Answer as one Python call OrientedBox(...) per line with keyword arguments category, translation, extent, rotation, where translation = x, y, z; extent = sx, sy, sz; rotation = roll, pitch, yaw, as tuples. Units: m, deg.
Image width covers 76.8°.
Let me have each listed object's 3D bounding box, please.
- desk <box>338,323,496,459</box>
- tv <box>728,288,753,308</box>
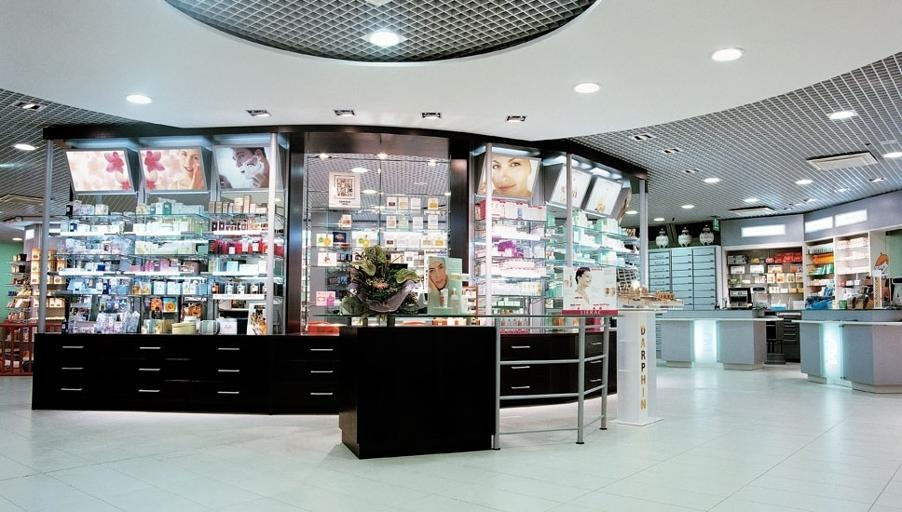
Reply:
OrientedBox(category="desk", translation=(0.086, 1.718, 7.306), extent=(2.173, 1.499, 1.180), rotation=(-11, -18, 33))
OrientedBox(category="tv", translation=(7.511, 1.139, 15.094), extent=(0.759, 0.607, 0.513), rotation=(-4, -13, 25))
